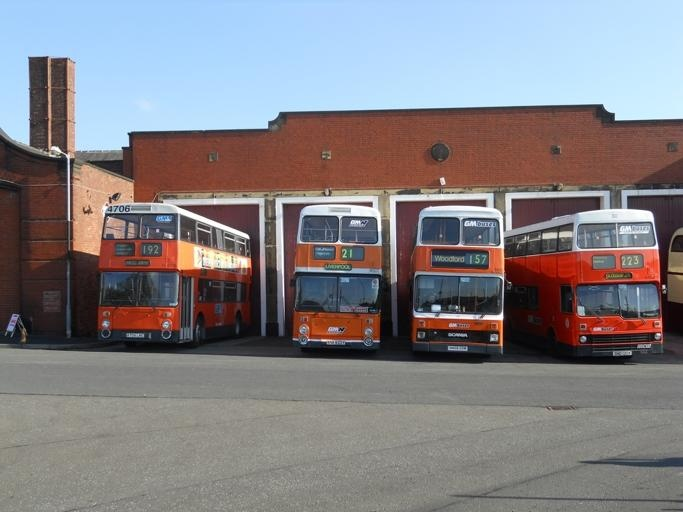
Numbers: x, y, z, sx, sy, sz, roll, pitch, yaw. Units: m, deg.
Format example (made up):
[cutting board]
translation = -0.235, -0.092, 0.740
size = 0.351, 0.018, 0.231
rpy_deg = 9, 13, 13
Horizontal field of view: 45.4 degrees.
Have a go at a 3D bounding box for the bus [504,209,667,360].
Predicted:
[bus]
translation = 8.373, 1.070, 30.568
size = 2.616, 5.010, 10.301
rpy_deg = -2, -3, -3
